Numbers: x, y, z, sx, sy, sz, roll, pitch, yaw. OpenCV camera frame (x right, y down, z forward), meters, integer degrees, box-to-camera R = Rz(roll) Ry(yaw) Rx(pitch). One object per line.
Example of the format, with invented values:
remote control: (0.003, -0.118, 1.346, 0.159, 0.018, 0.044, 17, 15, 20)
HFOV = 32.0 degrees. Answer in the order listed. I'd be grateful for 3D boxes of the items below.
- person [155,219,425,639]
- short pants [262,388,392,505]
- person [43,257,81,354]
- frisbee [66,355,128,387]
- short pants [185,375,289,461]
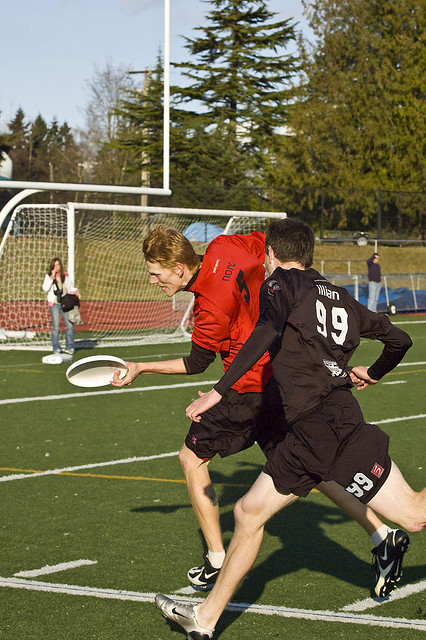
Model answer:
person: (0.370, 0.392, 2.860, 1.020, 1.576, 0.466, 0, 1, -24)
short pants: (0.447, 0.483, 2.931, 0.319, 0.434, 0.559, -17, 2, -39)
person: (-2.530, -0.229, 12.391, 0.558, 1.638, 0.740, 0, 1, -12)
frisbee: (-0.540, 0.247, 3.474, 0.272, 0.152, 0.222, 0, 1, -8)
short pants: (0.204, 0.454, 3.540, 0.659, 0.500, 0.226, 1, 18, -5)
